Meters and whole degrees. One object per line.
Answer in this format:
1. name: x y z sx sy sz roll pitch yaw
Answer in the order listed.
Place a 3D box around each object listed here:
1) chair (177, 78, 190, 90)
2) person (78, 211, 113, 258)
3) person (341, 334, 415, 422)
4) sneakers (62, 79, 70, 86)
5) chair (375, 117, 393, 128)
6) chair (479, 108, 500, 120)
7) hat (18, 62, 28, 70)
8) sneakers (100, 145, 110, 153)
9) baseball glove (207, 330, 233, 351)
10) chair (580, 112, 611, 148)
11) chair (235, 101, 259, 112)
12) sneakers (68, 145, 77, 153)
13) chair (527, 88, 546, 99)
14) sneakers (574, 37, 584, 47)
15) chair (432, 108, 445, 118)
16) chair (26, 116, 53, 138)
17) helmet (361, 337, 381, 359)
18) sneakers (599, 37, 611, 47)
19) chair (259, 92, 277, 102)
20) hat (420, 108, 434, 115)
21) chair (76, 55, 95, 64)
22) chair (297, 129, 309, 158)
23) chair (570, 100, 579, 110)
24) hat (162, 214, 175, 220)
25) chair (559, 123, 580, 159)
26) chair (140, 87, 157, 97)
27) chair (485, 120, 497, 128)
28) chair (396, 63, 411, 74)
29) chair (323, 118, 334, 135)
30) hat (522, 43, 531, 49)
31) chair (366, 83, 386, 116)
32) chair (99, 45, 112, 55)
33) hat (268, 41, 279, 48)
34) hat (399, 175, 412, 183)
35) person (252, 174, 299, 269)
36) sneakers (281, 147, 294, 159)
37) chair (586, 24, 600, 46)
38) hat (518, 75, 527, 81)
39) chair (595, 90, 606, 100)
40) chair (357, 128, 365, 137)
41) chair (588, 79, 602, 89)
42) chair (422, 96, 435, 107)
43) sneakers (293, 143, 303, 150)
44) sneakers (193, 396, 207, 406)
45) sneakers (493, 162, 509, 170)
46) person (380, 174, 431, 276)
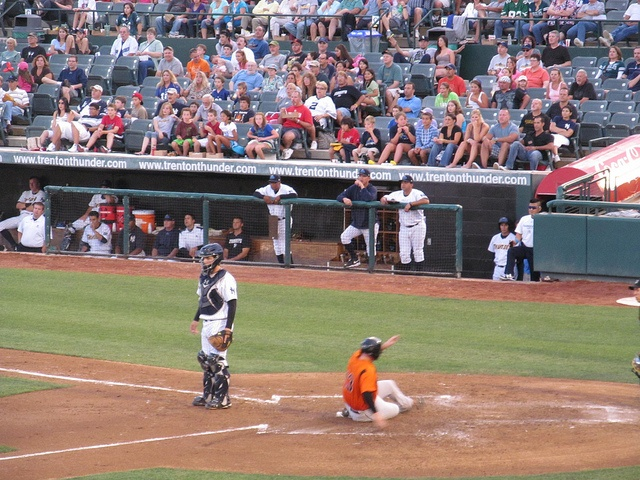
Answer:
1. chair: -3.171 -3.643 33.679 0.302 0.334 0.308 0 1 5
2. person: -4.858 -0.179 31.259 0.807 0.927 0.242 6 13 29
3. person: 0.840 2.081 21.625 0.913 1.362 0.652 -4 12 -18
4. sneakers: -5.929 -3.689 33.901 0.165 0.158 0.445 0 8 -3
5. chair: 1.346 -2.521 30.965 0.334 0.330 0.280 2 5 11
6. chair: 3.491 -2.628 30.178 0.303 0.298 0.257 3 8 16
7. hat: -6.977 -4.113 34.247 0.274 0.157 0.355 -6 16 -28
8. sneakers: -4.764 -2.024 32.310 0.129 0.100 0.298 -30 38 -33
9. baseball glove: -1.515 1.532 21.952 0.295 0.162 0.339 14 32 29
10. chair: 5.605 -2.277 29.665 0.709 0.683 0.693 -7 -7 11
11. chair: -1.608 -2.979 32.057 0.399 0.299 0.320 0 -3 9
12. sneakers: -5.531 -2.082 32.496 0.212 0.164 0.461 -2 9 -10
13. chair: 4.547 -3.127 30.645 0.284 0.317 0.282 5 12 15
14. sneakers: 5.755 -4.435 32.539 0.104 0.125 0.292 -16 -46 36
15. chair: 2.497 -2.711 30.783 0.256 0.250 0.228 1 7 10
16. chair: -6.423 -2.631 33.395 0.552 0.588 0.562 3 2 8
17. helmet: 0.765 1.580 21.668 0.282 0.286 0.332 6 20 11
18. sneakers: 6.322 -4.427 32.296 0.350 0.201 0.115 17 -37 -19
19. chair: -1.167 -3.221 32.452 0.280 0.298 0.285 0 -1 1
20. hat: 2.155 -2.631 29.516 0.265 0.157 0.248 -2 11 -31
21. chair: -5.723 -4.444 35.514 0.342 0.344 0.318 1 0 10
22. chair: -0.348 -2.070 31.201 0.260 0.632 0.244 -1 11 -5
23. chair: 5.209 -2.788 29.793 0.255 0.257 0.221 3 2 5
24. hat: -3.193 -0.481 30.751 0.210 0.121 0.215 -1 10 -6
25. chair: 5.023 -2.021 29.451 0.426 0.747 0.381 2 11 8
26. chair: -3.987 -3.443 33.702 0.325 0.296 0.268 3 7 3
27. chair: 3.516 -2.433 29.997 0.243 0.224 0.202 1 -4 5
28. chair: 1.854 -3.896 32.749 0.286 0.294 0.277 0 0 7
29. chair: 0.126 -2.497 31.193 0.228 0.362 0.266 4 11 20
30. hat: 4.437 -4.203 31.365 0.239 0.094 0.314 1 17 20
31. chair: 1.264 -3.073 31.782 0.339 0.664 0.635 4 11 18
32. chair: -5.407 -4.792 36.531 0.325 0.336 0.323 1 7 -2
33. hat: -1.089 -4.576 33.687 0.196 0.084 0.278 1 1 13
34. hat: 1.730 -1.216 28.819 0.202 0.103 0.136 26 -4 -31
35. person: -0.914 -0.429 29.876 0.720 1.818 0.423 5 13 24
36. sneakers: -0.677 -1.875 31.211 0.323 0.236 0.234 -6 12 -29
37. chair: 6.112 -4.710 32.566 0.341 0.344 0.912 2 9 10
38. hat: 4.212 -3.403 30.458 0.222 0.093 0.312 1 3 4
39. chair: 5.816 -3.038 30.242 0.190 0.205 0.217 14 22 42
40. chair: 0.855 -2.305 30.860 0.194 0.196 0.181 0 -2 2
41. chair: 5.854 -3.321 30.915 0.259 0.262 0.244 0 -2 19
42. chair: 2.344 -3.030 31.603 0.259 0.278 0.269 1 3 14
43. sneakers: -0.490 -2.024 31.265 0.133 0.134 0.054 9 14 1
44. sneakers: -1.830 2.446 22.171 0.234 0.078 0.125 3 -1 -3
45. sneakers: 3.587 -1.484 29.089 0.129 0.096 0.329 -1 -6 43
46. person: 1.714 -0.344 28.998 0.820 1.909 0.363 1 12 5
